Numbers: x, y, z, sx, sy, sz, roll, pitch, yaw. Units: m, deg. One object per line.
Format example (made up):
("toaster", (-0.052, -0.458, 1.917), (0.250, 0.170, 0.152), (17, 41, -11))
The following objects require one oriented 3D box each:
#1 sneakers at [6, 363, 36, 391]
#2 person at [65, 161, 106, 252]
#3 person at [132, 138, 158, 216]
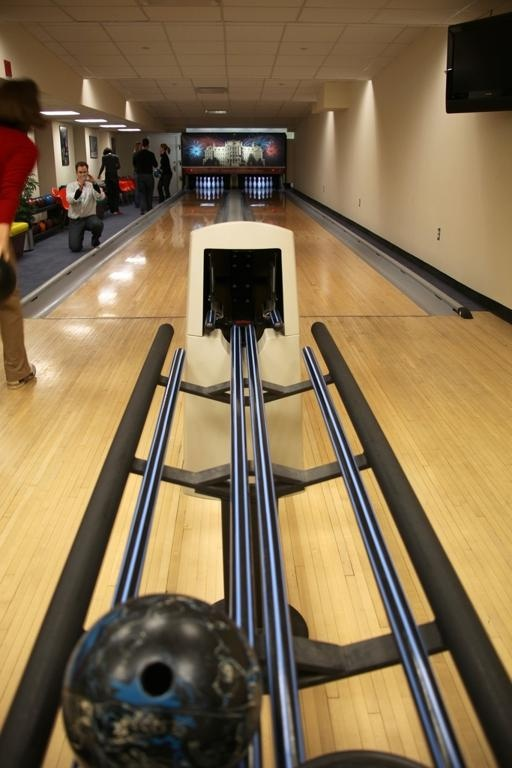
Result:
("sneakers", (-1.592, -0.052, 2.864), (0.064, 0.093, 0.222), (4, 31, -4))
("person", (-2.815, -2.881, 6.939), (0.564, 1.384, 0.949), (-5, 19, -24))
("person", (-2.709, -5.089, 10.313), (0.524, 1.728, 1.698), (-2, 18, -15))
